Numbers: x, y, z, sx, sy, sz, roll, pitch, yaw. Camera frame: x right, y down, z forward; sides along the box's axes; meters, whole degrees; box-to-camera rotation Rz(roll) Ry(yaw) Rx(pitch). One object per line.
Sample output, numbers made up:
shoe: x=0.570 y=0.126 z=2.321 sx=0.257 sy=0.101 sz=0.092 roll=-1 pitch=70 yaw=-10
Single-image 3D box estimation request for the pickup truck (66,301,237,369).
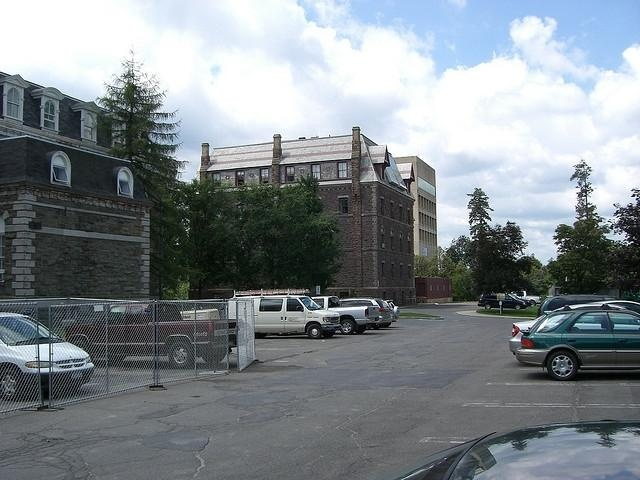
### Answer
pickup truck: x=-4.422 y=2.474 z=17.682 sx=2.882 sy=0.969 sz=1.662 roll=0 pitch=-3 yaw=15
